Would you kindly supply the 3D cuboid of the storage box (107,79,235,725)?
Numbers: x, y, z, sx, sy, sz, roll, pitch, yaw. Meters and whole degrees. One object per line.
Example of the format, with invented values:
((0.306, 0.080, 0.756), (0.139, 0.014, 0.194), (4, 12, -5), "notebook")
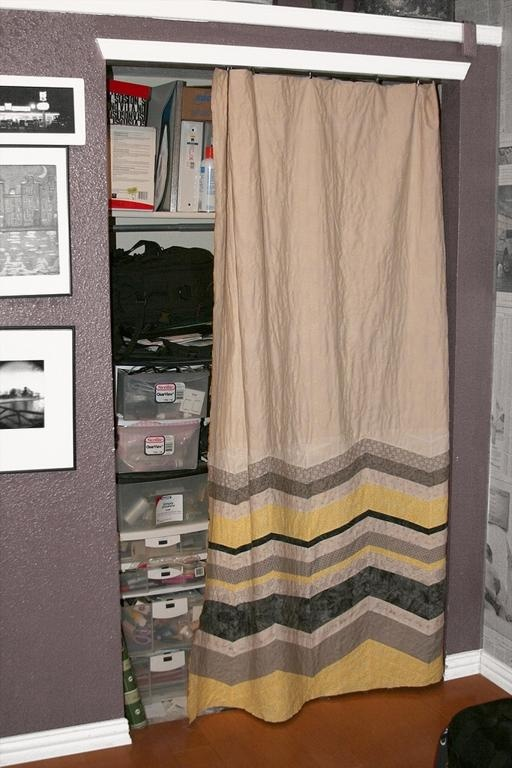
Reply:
((-0.297, -0.001, 2.146), (0.341, 2.054, 0.483), (-2, 6, -12), "storage box")

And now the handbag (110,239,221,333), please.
((-0.285, -0.283, 2.061), (0.282, 0.322, 0.115), (-2, 6, -23), "handbag")

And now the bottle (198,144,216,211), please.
((-0.155, -0.631, 2.026), (0.041, 0.206, 0.045), (-1, 6, 0), "bottle")
